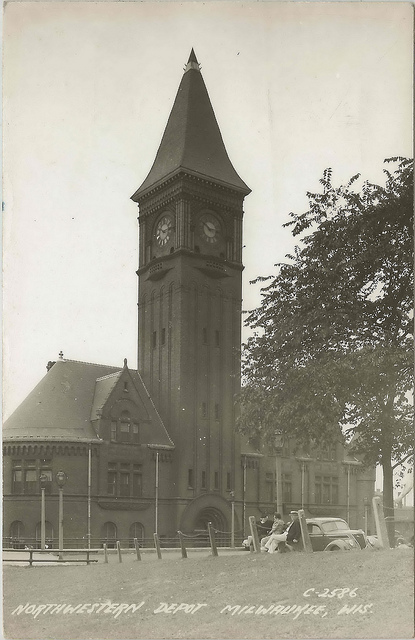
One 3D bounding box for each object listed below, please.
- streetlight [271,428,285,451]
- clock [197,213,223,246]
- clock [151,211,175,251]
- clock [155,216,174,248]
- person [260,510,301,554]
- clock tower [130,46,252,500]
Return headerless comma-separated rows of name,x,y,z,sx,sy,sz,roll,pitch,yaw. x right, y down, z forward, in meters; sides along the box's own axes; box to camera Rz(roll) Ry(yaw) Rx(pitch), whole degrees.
streetlight,1.291,2.193,21.403,0.308,0.472,0.258,-1,5,25
clock,0.054,-1.833,23.137,0.043,0.567,0.507,-21,24,-27
clock,-0.923,-1.809,23.323,0.046,0.785,0.708,6,6,20
clock,-0.893,-1.792,23.449,0.047,0.668,0.605,2,2,14
person,1.314,3.741,20.465,0.581,0.887,0.395,12,-15,8
clock tower,-0.382,-0.311,23.336,1.947,8.326,3.225,-4,5,-16
